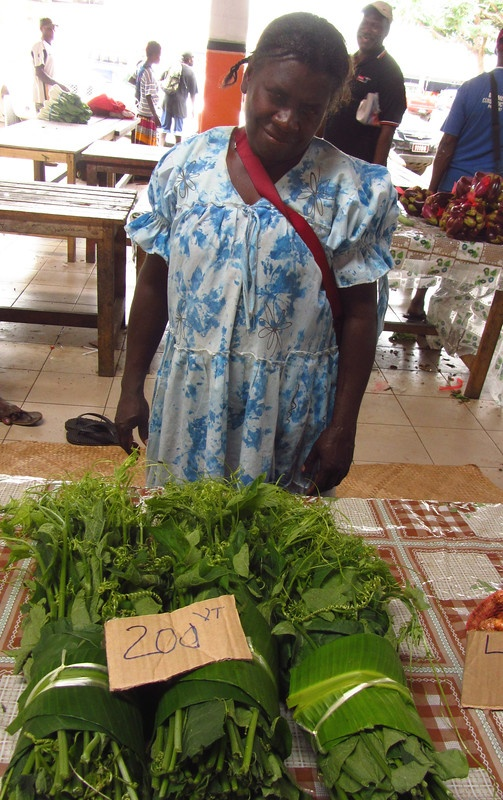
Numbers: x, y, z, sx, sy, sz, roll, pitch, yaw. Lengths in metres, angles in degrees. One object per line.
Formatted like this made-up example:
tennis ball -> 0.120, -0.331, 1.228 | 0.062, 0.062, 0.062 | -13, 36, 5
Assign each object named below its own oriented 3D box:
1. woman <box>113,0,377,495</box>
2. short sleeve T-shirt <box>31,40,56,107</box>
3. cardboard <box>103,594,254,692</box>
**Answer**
woman -> -0.015, -0.256, 1.253 | 0.606, 0.996, 0.275 | 18, 26, 21
short sleeve T-shirt -> -2.713, -4.246, 7.498 | 0.251, 0.740, 0.683 | -1, 26, -19
cardboard -> -0.094, 0.294, 0.703 | 0.166, 0.044, 0.100 | 1, 26, -18
